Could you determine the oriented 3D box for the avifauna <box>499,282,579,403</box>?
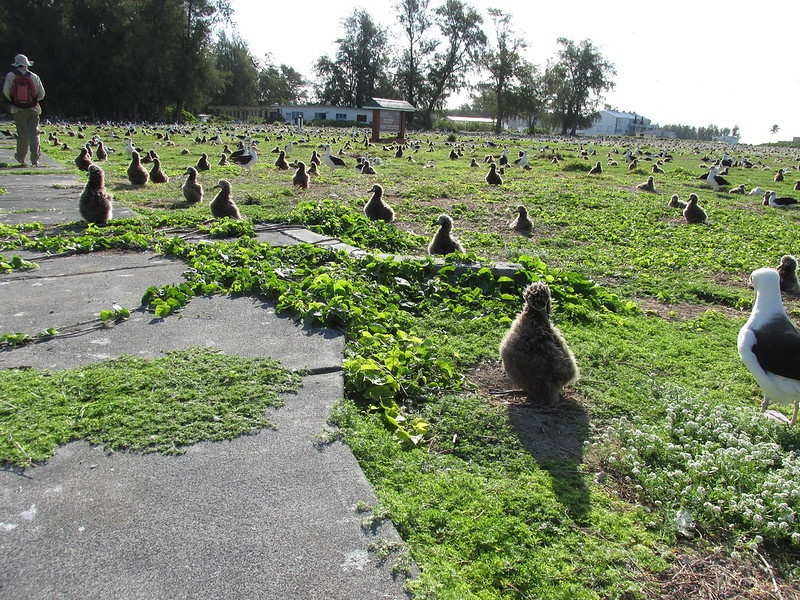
[{"bbox_3d":[1.270,0.498,5.588,0.698,1.148,1.123,-2,56,9],"label":"avifauna"}]
